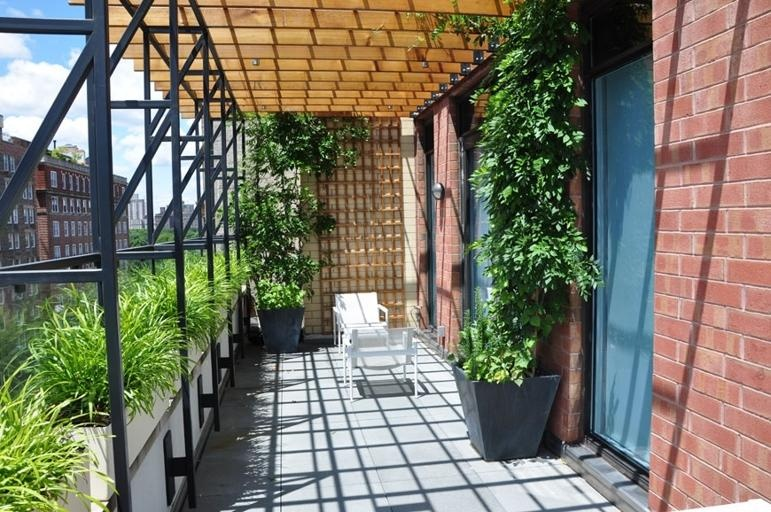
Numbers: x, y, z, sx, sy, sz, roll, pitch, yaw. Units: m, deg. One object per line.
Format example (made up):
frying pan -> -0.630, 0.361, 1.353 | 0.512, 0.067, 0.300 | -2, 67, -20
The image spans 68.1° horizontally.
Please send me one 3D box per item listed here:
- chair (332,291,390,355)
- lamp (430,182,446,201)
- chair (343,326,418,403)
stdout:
chair -> -0.442, 0.947, 8.581 | 0.658, 0.687, 0.884 | -1, -1, -8
lamp -> 0.772, -0.880, 7.825 | 0.199, 0.227, 0.205 | 0, 27, -26
chair -> -0.101, 1.028, 6.562 | 0.948, 1.008, 0.755 | -1, 6, -6
